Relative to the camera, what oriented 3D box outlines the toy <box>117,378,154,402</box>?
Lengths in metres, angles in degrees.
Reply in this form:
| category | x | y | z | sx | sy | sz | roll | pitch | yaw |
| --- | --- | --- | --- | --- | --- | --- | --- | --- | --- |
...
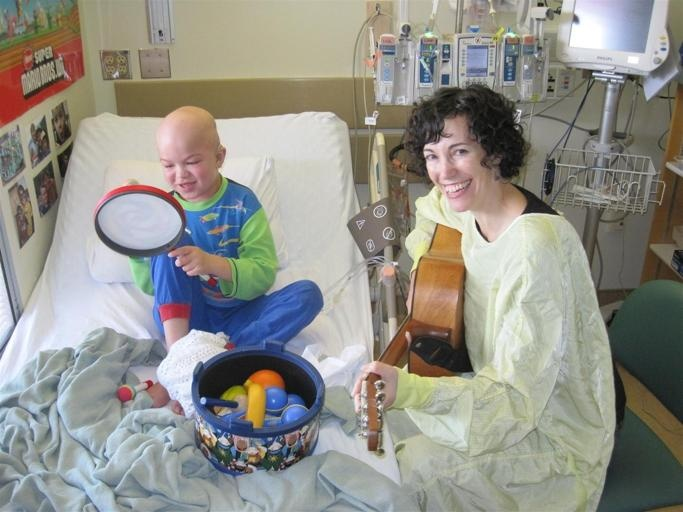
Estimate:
| category | x | y | z | sx | sy | sz | roll | pitch | yaw |
| --- | --- | --- | --- | --- | --- | --- | --- | --- | --- |
| toy | -0.682 | 0.427 | 1.821 | 0.038 | 0.043 | 0.106 | 20 | 23 | 20 |

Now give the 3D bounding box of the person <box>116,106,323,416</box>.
| category | x | y | z | sx | sy | sz | roll | pitch | yaw |
| --- | --- | --- | --- | --- | --- | --- | --- | --- | --- |
| person | -0.494 | -0.049 | 2.042 | 0.707 | 0.993 | 0.647 | 10 | 19 | 40 |

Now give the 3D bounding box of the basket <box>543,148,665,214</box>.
| category | x | y | z | sx | sy | sz | roll | pitch | yaw |
| --- | --- | --- | --- | --- | --- | --- | --- | --- | --- |
| basket | 1.303 | -0.378 | 2.733 | 0.529 | 0.201 | 0.371 | 10 | 39 | 13 |

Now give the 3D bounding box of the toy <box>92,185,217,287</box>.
| category | x | y | z | sx | sy | sz | roll | pitch | yaw |
| --- | --- | --- | --- | --- | --- | --- | --- | --- | --- |
| toy | -0.626 | -0.102 | 1.706 | 0.268 | 0.245 | 0.082 | -5 | 20 | -6 |

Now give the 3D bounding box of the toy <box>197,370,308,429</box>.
| category | x | y | z | sx | sy | sz | roll | pitch | yaw |
| --- | --- | --- | --- | --- | --- | --- | --- | --- | --- |
| toy | -0.253 | 0.387 | 1.633 | 0.198 | 0.097 | 0.152 | -10 | 12 | -38 |
